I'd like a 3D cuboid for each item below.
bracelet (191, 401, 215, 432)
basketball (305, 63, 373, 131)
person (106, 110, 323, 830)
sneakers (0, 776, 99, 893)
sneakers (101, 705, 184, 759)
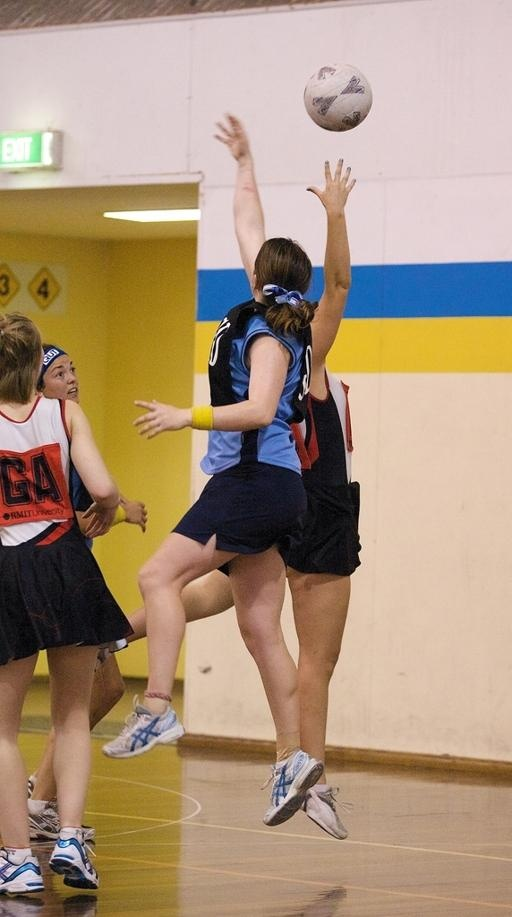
[{"bbox_3d":[-0.122,-0.089,2.036,0.040,0.053,0.044,-2,-3,15],"label":"bracelet"},{"bbox_3d":[0.283,-1.266,3.147,0.225,0.237,0.121,2,-9,3],"label":"basketball"},{"bbox_3d":[-0.073,0.161,2.253,0.382,1.561,0.733,-2,-10,24],"label":"person"},{"bbox_3d":[-0.508,0.946,2.180,0.126,0.154,0.337,0,0,-7],"label":"sneakers"},{"bbox_3d":[-0.273,0.651,2.133,0.181,0.140,0.173,4,-9,-8],"label":"sneakers"}]
